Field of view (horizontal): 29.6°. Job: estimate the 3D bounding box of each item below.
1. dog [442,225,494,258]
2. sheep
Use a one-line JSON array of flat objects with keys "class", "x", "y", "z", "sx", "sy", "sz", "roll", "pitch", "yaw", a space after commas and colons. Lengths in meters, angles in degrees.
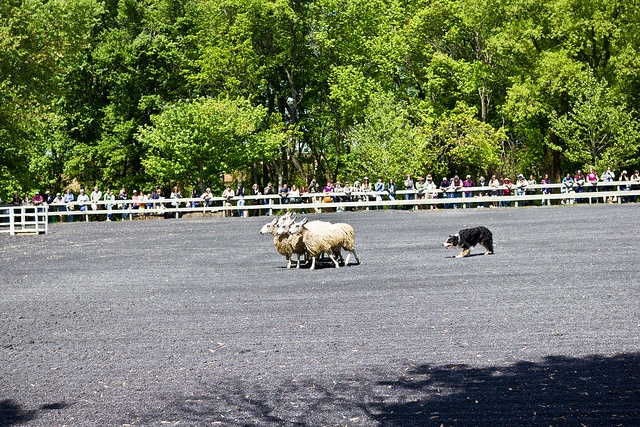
[{"class": "dog", "x": 8.133, "y": 1.540, "z": 65.160, "sx": 2.512, "sy": 1.420, "sz": 0.989, "roll": -3, "pitch": 1, "yaw": -1}, {"class": "sheep", "x": -0.543, "y": 1.409, "z": 64.014, "sx": 4.417, "sy": 2.722, "sz": 1.655, "roll": -3, "pitch": 1, "yaw": -8}]
